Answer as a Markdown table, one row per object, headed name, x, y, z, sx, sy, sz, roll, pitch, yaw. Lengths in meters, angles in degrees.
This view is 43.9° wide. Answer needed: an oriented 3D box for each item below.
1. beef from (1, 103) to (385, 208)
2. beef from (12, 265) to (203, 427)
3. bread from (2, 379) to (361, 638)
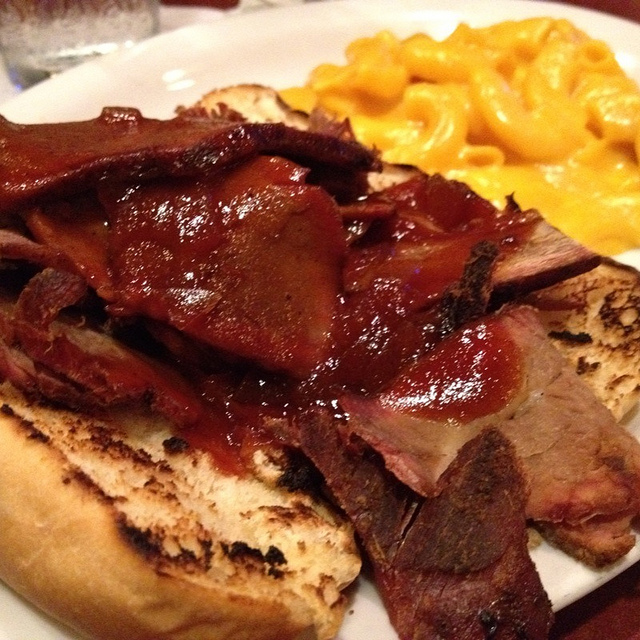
| name | x | y | z | sx | sy | sz | roll | pitch | yaw |
| --- | --- | --- | --- | --- | --- | --- | --- | --- | --- |
| beef | -0.304 | -0.387 | 1.891 | 0.808 | 0.171 | 0.437 | -15 | 34 | -27 |
| beef | -0.466 | 0.061 | 1.738 | 0.424 | 0.215 | 0.482 | -12 | 27 | -28 |
| bread | -0.334 | 0.414 | 1.656 | 0.878 | 0.153 | 0.450 | 26 | 54 | 6 |
